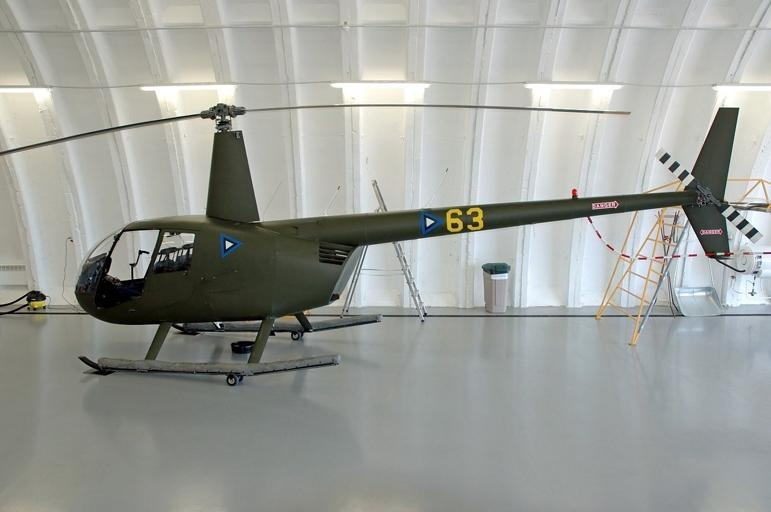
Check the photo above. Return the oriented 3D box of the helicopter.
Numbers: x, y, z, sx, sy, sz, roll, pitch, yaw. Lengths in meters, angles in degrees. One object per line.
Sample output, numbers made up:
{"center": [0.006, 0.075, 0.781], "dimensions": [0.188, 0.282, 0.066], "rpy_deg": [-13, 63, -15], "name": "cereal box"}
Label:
{"center": [0.135, -0.504, 9.778], "dimensions": [11.527, 2.965, 4.537], "rpy_deg": [-12, -53, 10], "name": "helicopter"}
